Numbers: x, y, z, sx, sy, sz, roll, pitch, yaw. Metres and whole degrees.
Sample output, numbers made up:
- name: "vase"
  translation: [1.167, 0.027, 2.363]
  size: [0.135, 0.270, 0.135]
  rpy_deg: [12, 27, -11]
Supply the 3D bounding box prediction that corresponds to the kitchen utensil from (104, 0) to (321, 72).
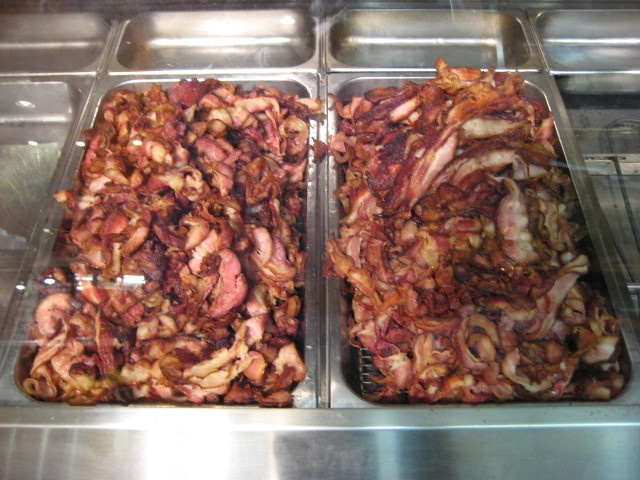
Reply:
- name: "kitchen utensil"
  translation: [-0.386, -0.712, 2.070]
  size: [0.747, 0.142, 0.247]
  rpy_deg: [-4, 57, 3]
